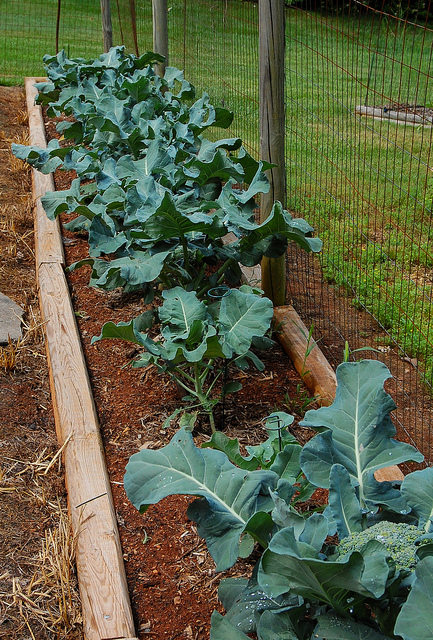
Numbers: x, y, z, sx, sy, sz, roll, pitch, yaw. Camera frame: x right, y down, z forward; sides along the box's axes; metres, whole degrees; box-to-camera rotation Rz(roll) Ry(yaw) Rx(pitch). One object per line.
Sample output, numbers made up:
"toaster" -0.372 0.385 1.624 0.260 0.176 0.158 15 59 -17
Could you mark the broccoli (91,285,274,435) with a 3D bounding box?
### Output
"broccoli" -0.119 0.148 2.337 0.738 0.572 0.584 -6 23 -15
